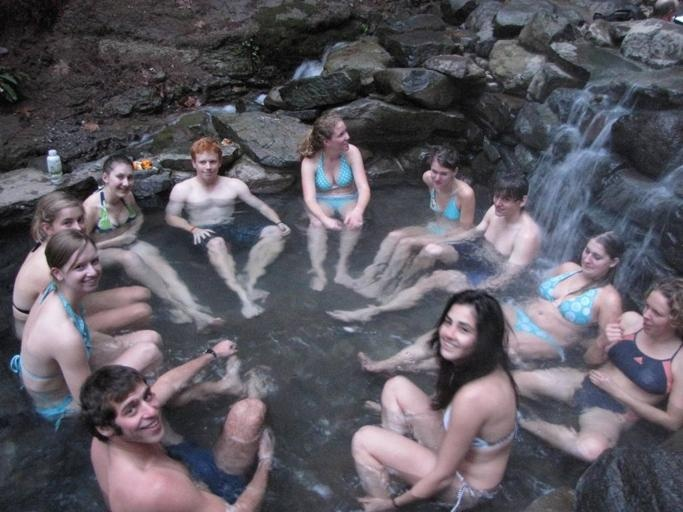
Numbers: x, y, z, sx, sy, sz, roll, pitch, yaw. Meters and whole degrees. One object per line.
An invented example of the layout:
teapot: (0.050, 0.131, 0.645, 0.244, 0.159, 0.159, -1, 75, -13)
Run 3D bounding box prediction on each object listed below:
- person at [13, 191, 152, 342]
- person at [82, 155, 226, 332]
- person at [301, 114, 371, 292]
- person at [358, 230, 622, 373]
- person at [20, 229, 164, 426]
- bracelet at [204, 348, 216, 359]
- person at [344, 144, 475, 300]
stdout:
person: (-2.420, 0.130, 5.292, 0.922, 1.435, 0.548, -4, 65, -18)
person: (-2.166, -0.173, 5.615, 0.789, 1.438, 2.190, -3, 12, -27)
person: (-0.058, -0.700, 6.452, 0.775, 1.602, 1.703, -3, 29, -1)
person: (1.512, 0.588, 5.489, 2.414, 1.071, 1.558, -13, 23, -2)
person: (-2.241, 0.847, 5.074, 1.334, 2.158, 0.914, -4, 32, -23)
bracelet: (-1.212, 0.892, 5.174, 0.047, 0.103, 0.075, -43, 11, -10)
person: (0.858, -0.328, 6.205, 0.768, 1.355, 1.831, 18, 33, 32)
